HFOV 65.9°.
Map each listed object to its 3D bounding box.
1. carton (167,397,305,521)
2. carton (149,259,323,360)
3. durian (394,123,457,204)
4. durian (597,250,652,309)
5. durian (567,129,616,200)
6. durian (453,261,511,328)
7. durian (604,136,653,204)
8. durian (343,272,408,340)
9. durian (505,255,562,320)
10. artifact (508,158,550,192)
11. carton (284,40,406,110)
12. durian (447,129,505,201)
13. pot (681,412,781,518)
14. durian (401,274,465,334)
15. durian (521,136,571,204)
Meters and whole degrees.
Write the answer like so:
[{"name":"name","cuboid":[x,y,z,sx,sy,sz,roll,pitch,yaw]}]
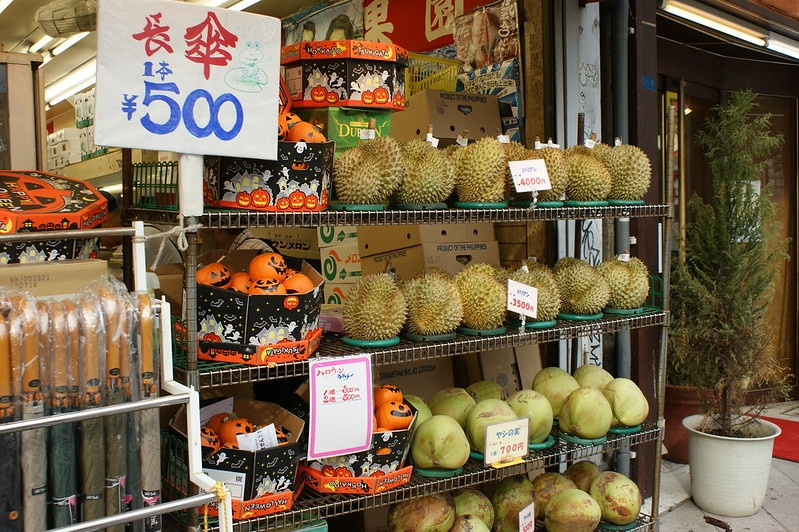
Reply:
[{"name":"carton","cuboid":[-0.604,0.697,2.302,0.445,0.293,0.361,0,4,-1]},{"name":"carton","cuboid":[-0.529,0.193,2.230,0.395,0.275,0.417,0,15,-6]},{"name":"durian","cuboid":[0.109,-0.426,2.639,0.310,0.342,0.297,-7,18,-16]},{"name":"durian","cuboid":[1.093,0.074,2.956,0.205,0.255,0.245,-3,-5,11]},{"name":"durian","cuboid":[0.862,-0.424,2.839,0.194,0.252,0.265,0,4,-1]},{"name":"durian","cuboid":[0.402,0.129,2.753,0.240,0.291,0.305,-1,0,-14]},{"name":"durian","cuboid":[1.115,-0.465,2.959,0.221,0.276,0.265,-3,3,1]},{"name":"durian","cuboid":[-0.094,0.204,2.563,0.210,0.171,0.329,-3,2,6]},{"name":"durian","cuboid":[0.602,0.082,2.914,0.211,0.279,0.279,-11,7,7]},{"name":"artifact","cuboid":[0.571,-0.396,2.683,0.149,0.158,0.040,-8,9,-24]},{"name":"carton","cuboid":[-0.212,-0.781,2.642,0.343,0.182,0.359,-1,12,-3]},{"name":"durian","cuboid":[0.349,-0.414,2.622,0.236,0.289,0.251,1,6,11]},{"name":"pot","cuboid":[1.981,1.240,3.714,0.528,0.471,0.557,2,4,0]},{"name":"durian","cuboid":[0.139,0.157,2.648,0.222,0.245,0.227,-16,2,45]},{"name":"durian","cuboid":[0.635,-0.447,2.866,0.254,0.303,0.234,-3,14,-16]}]
